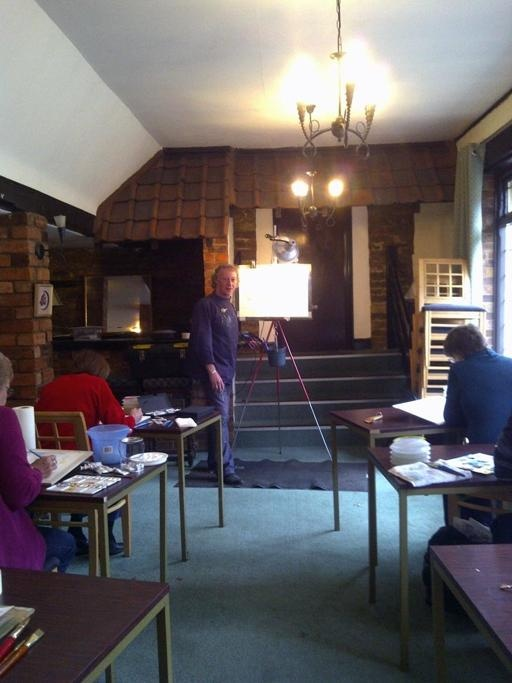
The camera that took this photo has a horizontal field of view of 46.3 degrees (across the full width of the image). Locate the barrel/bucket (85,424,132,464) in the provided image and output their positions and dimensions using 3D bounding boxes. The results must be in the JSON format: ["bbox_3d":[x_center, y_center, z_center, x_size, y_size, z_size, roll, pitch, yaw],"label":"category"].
[{"bbox_3d":[-0.558,0.394,2.288,0.167,0.114,0.147,2,13,0],"label":"barrel/bucket"}]

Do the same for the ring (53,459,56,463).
[{"bbox_3d":[-0.720,0.432,2.152,0.011,0.010,0.008,-1,4,-37],"label":"ring"}]

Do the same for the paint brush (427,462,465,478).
[{"bbox_3d":[0.674,0.458,2.126,0.120,0.031,0.043,11,-32,48],"label":"paint brush"}]

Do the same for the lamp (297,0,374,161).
[{"bbox_3d":[0.549,-1.845,4.175,0.481,0.970,0.487,14,39,23],"label":"lamp"}]

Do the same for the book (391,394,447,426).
[{"bbox_3d":[0.873,0.366,3.089,0.157,0.041,0.164,-9,18,-29],"label":"book"}]

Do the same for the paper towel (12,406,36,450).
[{"bbox_3d":[-0.854,0.328,2.272,0.053,0.163,0.041,6,-24,-34],"label":"paper towel"}]

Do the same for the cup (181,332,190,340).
[{"bbox_3d":[-0.637,-0.048,5.573,0.103,0.069,0.098,1,5,0],"label":"cup"}]

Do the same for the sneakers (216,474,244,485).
[{"bbox_3d":[-0.176,1.017,4.423,0.057,0.068,0.170,-1,-1,-40],"label":"sneakers"}]

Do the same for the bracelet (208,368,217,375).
[{"bbox_3d":[-0.311,0.216,4.327,0.044,0.056,0.023,8,23,40],"label":"bracelet"}]
